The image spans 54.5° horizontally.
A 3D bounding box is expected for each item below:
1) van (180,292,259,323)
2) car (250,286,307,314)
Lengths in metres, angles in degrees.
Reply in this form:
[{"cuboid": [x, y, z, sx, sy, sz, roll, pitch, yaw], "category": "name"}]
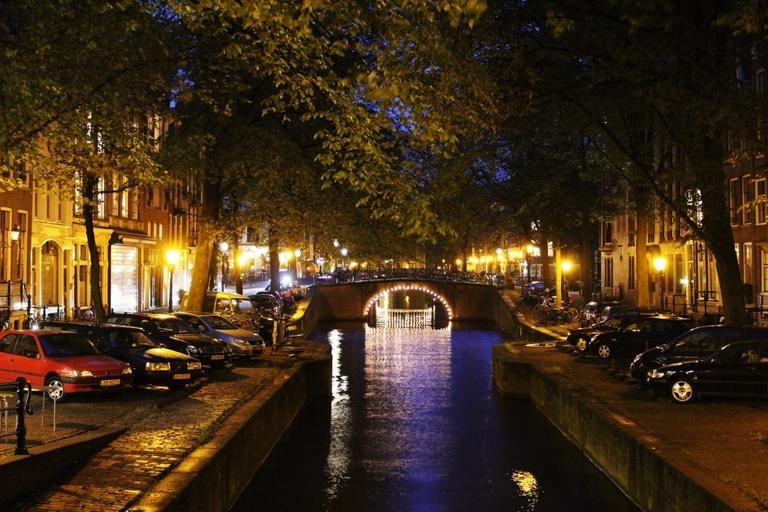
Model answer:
[{"cuboid": [-7.790, 2.436, 36.297, 2.717, 1.388, 1.919, -2, -3, 31], "category": "van"}, {"cuboid": [-6.649, 2.569, 45.955, 2.150, 0.912, 3.520, -1, -8, -1], "category": "car"}]
